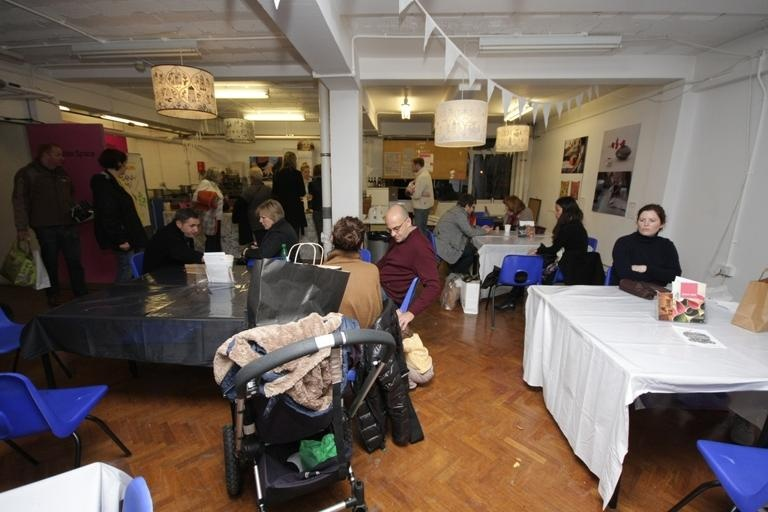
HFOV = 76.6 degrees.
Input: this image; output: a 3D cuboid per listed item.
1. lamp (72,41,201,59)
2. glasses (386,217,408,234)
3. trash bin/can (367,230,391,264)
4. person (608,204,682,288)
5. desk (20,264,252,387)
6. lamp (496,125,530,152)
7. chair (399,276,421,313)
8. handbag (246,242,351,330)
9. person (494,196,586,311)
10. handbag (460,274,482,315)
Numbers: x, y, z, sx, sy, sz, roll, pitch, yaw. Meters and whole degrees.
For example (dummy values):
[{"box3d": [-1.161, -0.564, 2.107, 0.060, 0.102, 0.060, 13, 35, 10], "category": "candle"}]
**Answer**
[{"box3d": [-2.905, -2.545, 5.867, 0.939, 0.189, 0.100, -2, 35, -4], "category": "lamp"}, {"box3d": [0.132, -0.301, 4.768, 0.193, 0.127, 0.080, 2, 12, 0], "category": "glasses"}, {"box3d": [-0.080, -0.160, 7.616, 0.534, 0.567, 0.507, 0, 10, -2], "category": "trash bin/can"}, {"box3d": [2.678, -0.075, 4.964, 0.612, 0.863, 0.488, 2, 11, -1], "category": "person"}, {"box3d": [-2.143, 0.582, 4.208, 1.334, 0.523, 1.330, 1, 13, 1], "category": "desk"}, {"box3d": [2.035, -1.891, 7.591, 0.455, 0.411, 0.324, 1, 12, -4], "category": "lamp"}, {"box3d": [0.236, 0.369, 4.772, 0.167, 0.339, 0.241, 7, 13, 22], "category": "chair"}, {"box3d": [-0.727, 0.231, 3.971, 0.700, 0.728, 0.502, 3, 5, -13], "category": "handbag"}, {"box3d": [2.053, 0.001, 6.184, 1.058, 1.514, 0.628, 11, -8, 19], "category": "person"}, {"box3d": [1.129, 0.513, 6.294, 0.260, 0.430, 0.233, 4, 13, 10], "category": "handbag"}]
